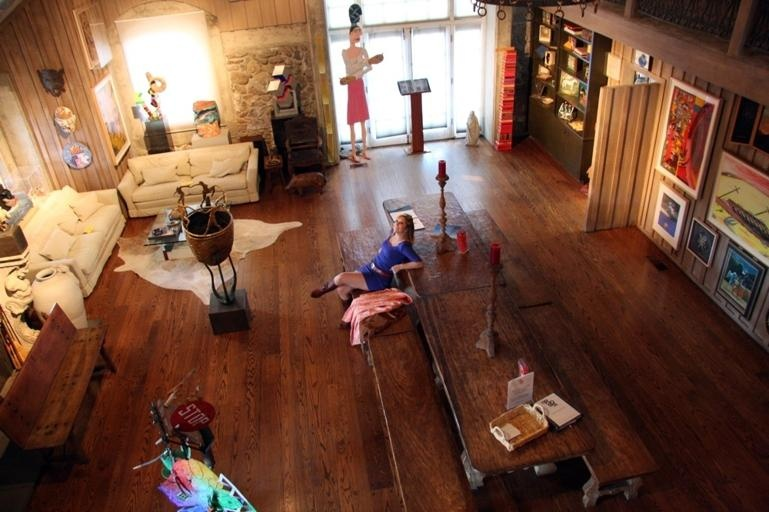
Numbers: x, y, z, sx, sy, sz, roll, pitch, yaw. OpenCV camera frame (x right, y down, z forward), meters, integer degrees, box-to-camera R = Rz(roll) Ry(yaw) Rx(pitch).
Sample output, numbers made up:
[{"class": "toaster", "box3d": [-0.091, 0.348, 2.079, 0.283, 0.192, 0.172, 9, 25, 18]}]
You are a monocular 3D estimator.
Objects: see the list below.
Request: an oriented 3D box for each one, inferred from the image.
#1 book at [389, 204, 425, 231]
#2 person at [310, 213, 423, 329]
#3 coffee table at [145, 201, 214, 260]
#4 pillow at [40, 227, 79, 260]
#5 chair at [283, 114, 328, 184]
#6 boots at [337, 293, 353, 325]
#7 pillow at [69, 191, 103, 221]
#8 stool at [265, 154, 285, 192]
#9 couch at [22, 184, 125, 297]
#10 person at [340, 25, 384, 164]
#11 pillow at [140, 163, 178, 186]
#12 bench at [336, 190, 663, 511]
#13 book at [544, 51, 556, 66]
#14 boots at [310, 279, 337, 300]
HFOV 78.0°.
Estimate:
[{"class": "book", "box3d": [0.295, -0.632, 7.504, 0.334, 0.093, 0.648, -10, 39, -3]}, {"class": "person", "box3d": [-0.348, 0.171, 6.896, 1.528, 1.654, 0.819, -4, 31, -19]}, {"class": "coffee table", "box3d": [-3.925, -0.456, 8.657, 1.211, 0.615, 1.274, -1, 55, -3]}, {"class": "pillow", "box3d": [-5.449, -0.171, 7.923, 0.300, 0.389, 0.756, -11, 30, -9]}, {"class": "chair", "box3d": [-1.707, -2.115, 9.960, 0.841, 1.362, 1.053, -10, 29, -7]}, {"class": "boots", "box3d": [-0.584, 0.801, 7.046, 0.142, 0.420, 0.126, 24, 64, 3]}, {"class": "pillow", "box3d": [-5.601, -0.912, 8.868, 0.200, 0.446, 0.740, -9, 30, -12]}, {"class": "stool", "box3d": [-2.391, -1.779, 10.328, 0.530, 0.688, 0.517, -8, 71, -7]}, {"class": "couch", "box3d": [-5.296, -0.204, 8.020, 0.848, 0.876, 1.940, -7, 51, -6]}, {"class": "person", "box3d": [-0.600, -3.533, 10.498, 0.845, 2.823, 1.079, -12, 29, -11]}, {"class": "pillow", "box3d": [-4.603, -1.667, 9.762, 0.697, 0.317, 0.370, -8, 30, -3]}, {"class": "bench", "box3d": [1.256, 1.253, 5.496, 2.513, 1.070, 4.382, -10, 54, -6]}, {"class": "book", "box3d": [3.484, -4.160, 10.009, 0.111, 0.216, 0.212, -6, 37, 1]}, {"class": "boots", "box3d": [-0.953, 0.539, 7.442, 0.443, 0.116, 0.112, -33, 63, 20]}]
